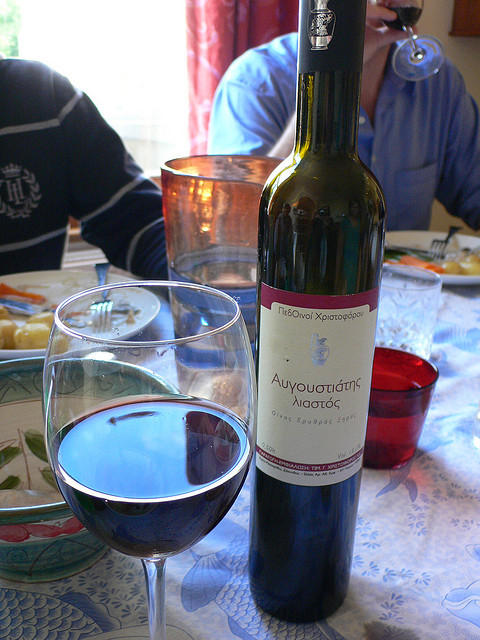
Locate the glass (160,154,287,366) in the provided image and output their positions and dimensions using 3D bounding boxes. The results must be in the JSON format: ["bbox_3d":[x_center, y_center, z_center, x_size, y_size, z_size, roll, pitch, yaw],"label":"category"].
[{"bbox_3d":[-0.011,-0.055,0.560,0.121,0.198,0.131,19,27,30],"label":"glass"}]

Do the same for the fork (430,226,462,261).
[{"bbox_3d":[0.367,-0.151,1.037,0.032,0.015,0.123,32,51,6],"label":"fork"}]

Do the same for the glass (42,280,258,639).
[{"bbox_3d":[-0.044,0.051,0.341,0.108,0.158,0.187,2,22,2],"label":"glass"}]

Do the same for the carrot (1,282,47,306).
[{"bbox_3d":[-0.290,-0.034,0.778,0.053,0.014,0.014,17,57,6],"label":"carrot"}]

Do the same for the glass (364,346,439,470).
[{"bbox_3d":[0.117,0.081,0.476,0.066,0.068,0.073,7,11,14],"label":"glass"}]

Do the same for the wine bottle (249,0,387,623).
[{"bbox_3d":[0.041,0.013,0.309,0.067,0.324,0.073,1,23,-1],"label":"wine bottle"}]
